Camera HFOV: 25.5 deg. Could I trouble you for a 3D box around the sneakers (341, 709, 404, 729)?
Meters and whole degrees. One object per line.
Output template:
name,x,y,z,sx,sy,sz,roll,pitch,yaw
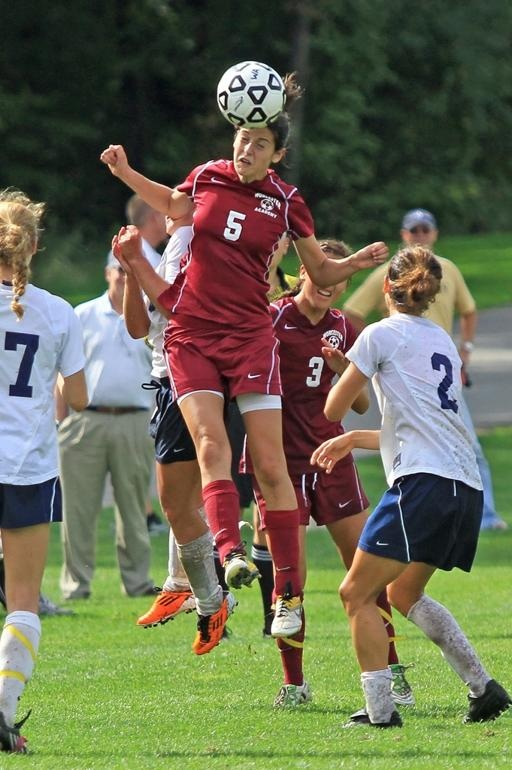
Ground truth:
sneakers,0.452,1.317,4.404,0.233,0.080,0.077,2,-7,12

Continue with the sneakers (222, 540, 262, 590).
sneakers,-0.060,0.703,4.335,0.082,0.105,0.220,-38,-5,-1

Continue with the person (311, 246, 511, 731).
person,0.630,0.372,4.536,0.704,1.958,0.535,-1,-3,2

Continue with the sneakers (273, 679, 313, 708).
sneakers,0.159,1.338,4.831,0.072,0.067,0.175,-6,-5,30

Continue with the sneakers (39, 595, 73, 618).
sneakers,-1.228,1.401,7.133,0.341,0.119,0.096,4,3,-22

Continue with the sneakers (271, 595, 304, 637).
sneakers,0.120,0.938,4.532,0.114,0.177,0.236,-1,-3,0

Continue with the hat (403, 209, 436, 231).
hat,1.236,-1.329,8.599,0.229,0.137,0.283,-3,-1,5

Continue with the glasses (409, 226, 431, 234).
glasses,1.240,-1.215,8.496,0.131,0.074,0.191,1,6,7
